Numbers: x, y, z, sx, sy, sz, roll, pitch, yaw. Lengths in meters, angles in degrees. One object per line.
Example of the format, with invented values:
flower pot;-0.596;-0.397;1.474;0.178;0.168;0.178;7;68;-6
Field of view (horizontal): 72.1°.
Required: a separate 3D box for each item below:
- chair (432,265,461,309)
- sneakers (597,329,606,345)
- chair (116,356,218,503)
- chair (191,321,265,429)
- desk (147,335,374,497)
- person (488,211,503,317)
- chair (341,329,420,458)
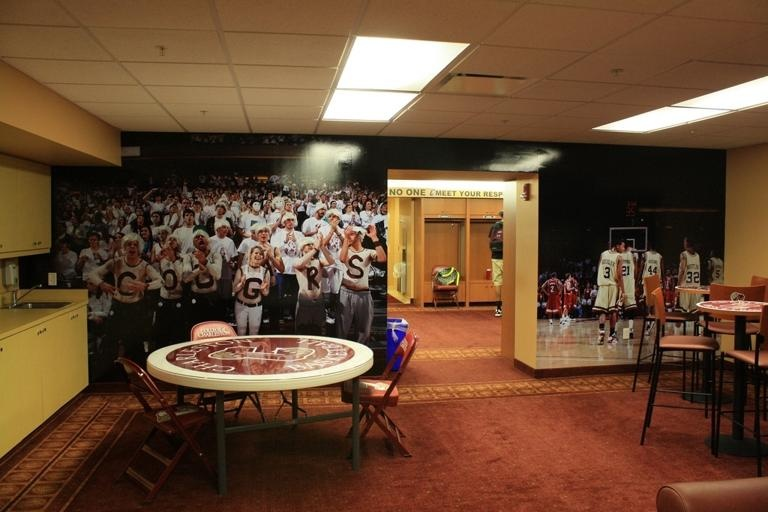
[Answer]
chair;1.708;0.834;14.465;0.765;1.032;0.781;2;4;-3
sneakers;3.581;1.326;8.678;0.096;0.269;0.111;1;15;0
chair;-2.483;1.600;5.904;0.832;1.379;1.675;-4;10;-26
chair;-1.876;1.480;6.444;0.978;1.293;0.770;2;-1;31
desk;-1.381;1.284;5.906;1.756;0.893;1.772;-2;10;-26
person;2.820;0.336;13.260;0.307;2.416;0.663;1;9;9
chair;-0.094;1.644;6.335;0.997;1.299;0.977;2;1;-30
